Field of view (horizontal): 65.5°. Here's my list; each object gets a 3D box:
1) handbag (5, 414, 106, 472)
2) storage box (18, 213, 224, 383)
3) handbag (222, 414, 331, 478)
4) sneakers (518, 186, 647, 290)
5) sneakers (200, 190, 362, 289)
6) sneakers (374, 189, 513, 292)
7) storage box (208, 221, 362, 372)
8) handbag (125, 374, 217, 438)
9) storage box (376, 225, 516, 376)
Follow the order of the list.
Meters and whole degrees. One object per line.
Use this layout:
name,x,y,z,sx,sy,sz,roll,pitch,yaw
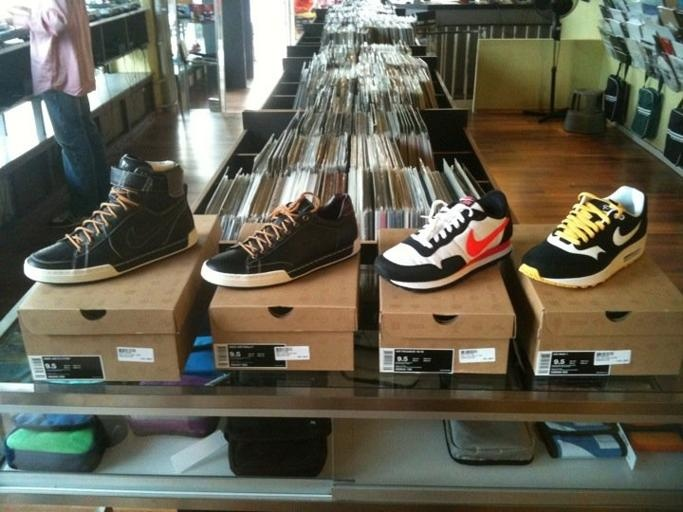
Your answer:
handbag,-0.680,0.443,1.271,0.174,0.069,0.173,3,-2,-8
storage box,-0.512,0.123,1.270,0.354,0.215,0.297,0,28,3
handbag,-0.147,0.450,1.261,0.214,0.061,0.147,1,12,-2
sneakers,0.578,-0.051,1.240,0.382,0.163,0.152,-23,37,-28
sneakers,-0.078,-0.054,1.315,0.486,0.192,0.160,-16,33,-18
sneakers,0.251,-0.041,1.245,0.400,0.150,0.137,-19,27,-29
storage box,-0.120,0.131,1.263,0.325,0.191,0.220,-1,28,1
handbag,-0.408,0.345,1.284,0.250,0.096,0.169,1,34,-4
storage box,0.222,0.092,1.168,0.230,0.138,0.295,0,37,0
